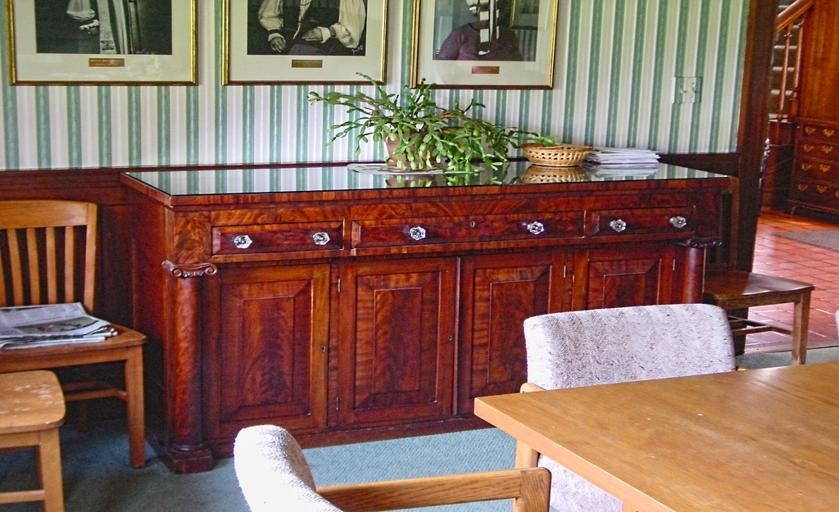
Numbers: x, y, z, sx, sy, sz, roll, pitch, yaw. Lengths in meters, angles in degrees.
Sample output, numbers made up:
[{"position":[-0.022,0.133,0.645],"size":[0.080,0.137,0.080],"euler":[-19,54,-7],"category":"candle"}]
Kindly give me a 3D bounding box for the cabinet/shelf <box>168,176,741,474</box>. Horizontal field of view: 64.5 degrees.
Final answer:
[{"position":[-0.016,0.281,2.777],"size":[1.872,0.611,0.466],"euler":[-3,10,-18],"category":"cabinet/shelf"}]

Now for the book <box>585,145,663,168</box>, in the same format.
[{"position":[1.155,-0.570,3.805],"size":[0.385,0.107,0.200],"euler":[-4,12,-10],"category":"book"}]

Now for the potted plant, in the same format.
[{"position":[0.044,-0.717,3.543],"size":[1.216,0.515,0.510],"euler":[-4,14,-10],"category":"potted plant"}]

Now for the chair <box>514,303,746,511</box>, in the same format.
[{"position":[0.640,0.452,2.384],"size":[0.855,0.759,0.751],"euler":[-3,2,-3],"category":"chair"}]
